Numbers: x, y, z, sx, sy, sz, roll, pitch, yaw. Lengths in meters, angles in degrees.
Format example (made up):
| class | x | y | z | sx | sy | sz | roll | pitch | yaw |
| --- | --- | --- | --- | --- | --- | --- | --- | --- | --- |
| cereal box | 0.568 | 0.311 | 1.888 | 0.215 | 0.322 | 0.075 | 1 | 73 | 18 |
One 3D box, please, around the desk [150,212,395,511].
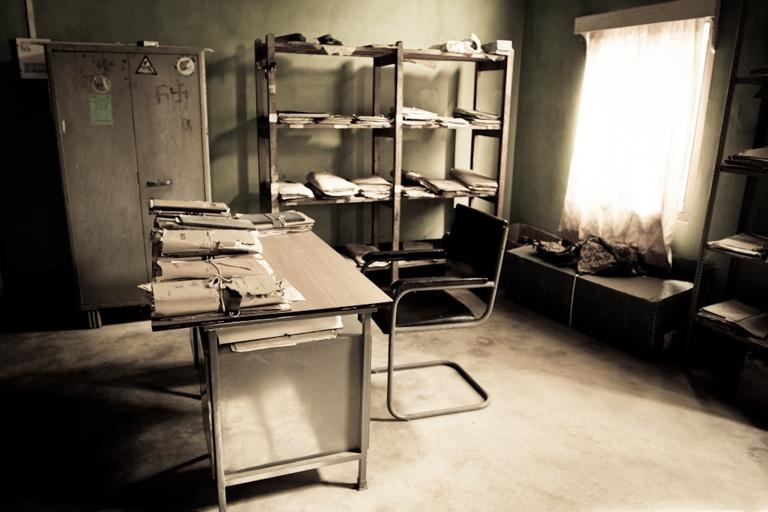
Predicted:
| class | x | y | z | sx | sy | sz | roll | pitch | yaw |
| --- | --- | --- | --- | --- | --- | --- | --- | --- | --- |
| desk | -0.622 | 0.691 | 3.171 | 1.157 | 1.246 | 0.881 | -12 | 21 | -33 |
